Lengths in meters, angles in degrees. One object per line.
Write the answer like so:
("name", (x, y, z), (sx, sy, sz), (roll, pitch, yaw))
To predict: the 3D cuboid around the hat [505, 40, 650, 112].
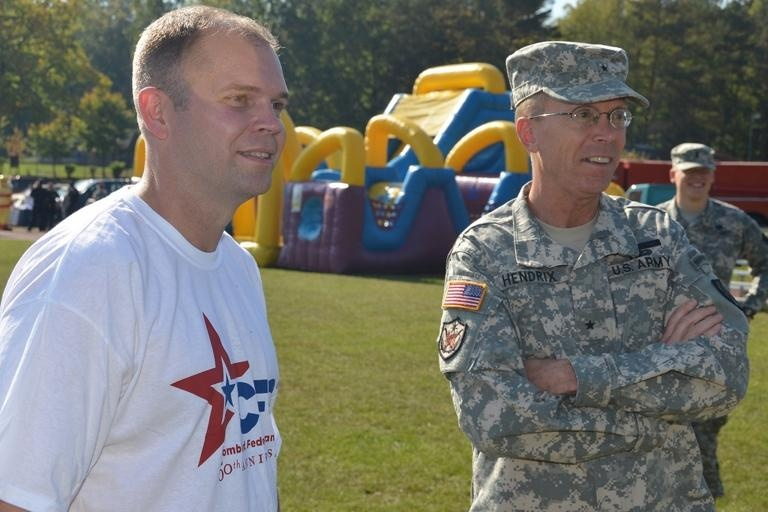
("hat", (1.320, -1.328, 9.287), (0.597, 0.329, 0.675), (1, 1, -45))
